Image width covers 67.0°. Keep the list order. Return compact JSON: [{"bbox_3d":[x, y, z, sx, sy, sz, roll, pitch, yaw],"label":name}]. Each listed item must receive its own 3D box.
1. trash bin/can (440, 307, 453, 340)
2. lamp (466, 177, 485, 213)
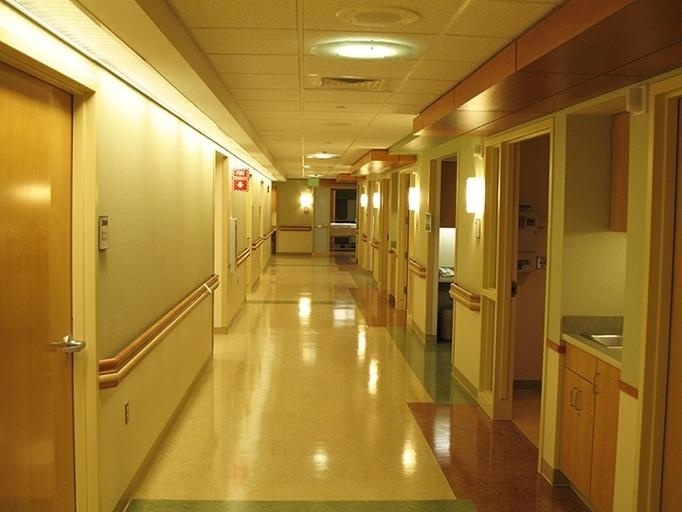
[{"bbox_3d":[1.676,1.104,8.298,0.115,0.537,0.273,-3,7,-38],"label":"trash bin/can"},{"bbox_3d":[1.508,-0.655,5.848,0.128,0.440,0.357,1,6,0],"label":"lamp"}]
